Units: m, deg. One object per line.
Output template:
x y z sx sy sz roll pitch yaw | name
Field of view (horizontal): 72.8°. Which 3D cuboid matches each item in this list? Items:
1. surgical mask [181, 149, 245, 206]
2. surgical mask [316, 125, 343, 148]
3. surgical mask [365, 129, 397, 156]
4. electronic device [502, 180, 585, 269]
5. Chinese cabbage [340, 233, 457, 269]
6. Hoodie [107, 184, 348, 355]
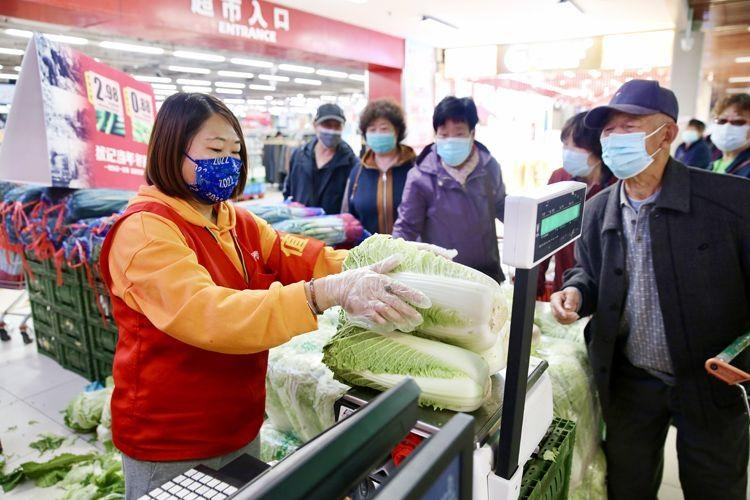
-0.762 -0.340 2.399 0.213 0.159 0.210 26 21 25 | surgical mask
-0.416 -1.066 4.808 0.171 0.114 0.205 0 33 -21 | surgical mask
0.074 -0.919 4.384 0.203 0.139 0.199 2 25 14 | surgical mask
0.731 -0.097 2.152 0.170 0.355 0.681 9 19 39 | electronic device
0.093 -0.008 2.341 0.367 0.095 0.227 0 24 -2 | Chinese cabbage
-0.673 0.136 2.219 0.898 0.356 0.726 13 14 10 | Hoodie
